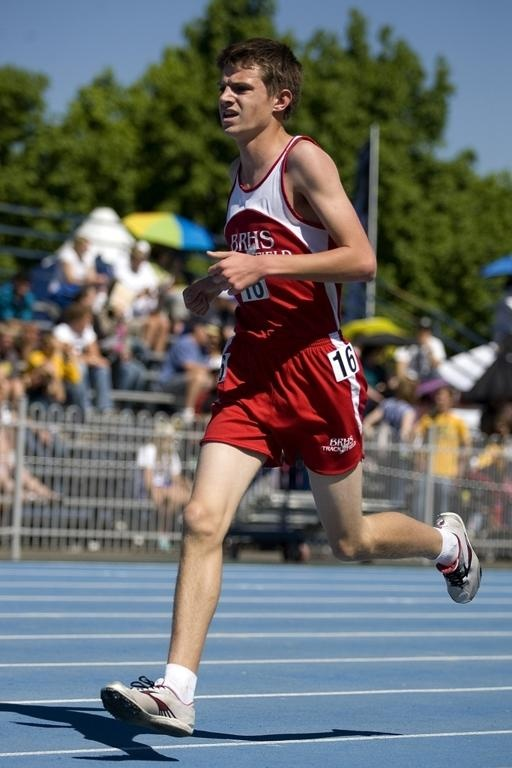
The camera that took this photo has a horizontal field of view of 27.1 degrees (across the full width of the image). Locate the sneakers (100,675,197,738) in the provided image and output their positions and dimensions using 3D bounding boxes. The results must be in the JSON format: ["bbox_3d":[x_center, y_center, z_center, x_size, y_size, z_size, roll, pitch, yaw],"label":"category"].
[{"bbox_3d":[-0.279,0.847,2.799,0.223,0.128,0.276,3,-1,5],"label":"sneakers"}]
